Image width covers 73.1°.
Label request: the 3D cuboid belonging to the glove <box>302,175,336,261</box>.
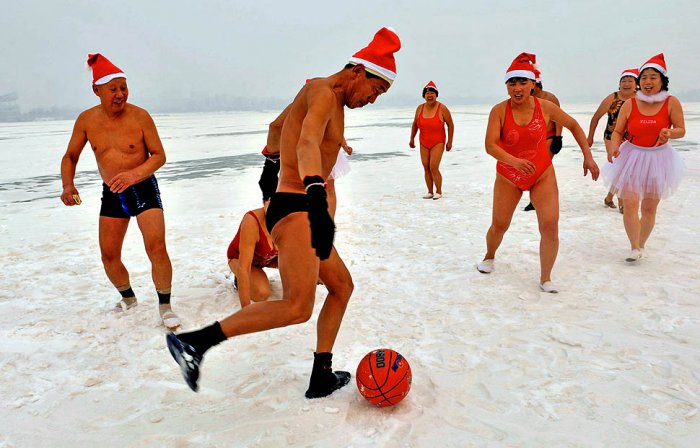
[{"bbox_3d":[-0.272,-0.066,4.048,0.289,0.731,0.228,1,1,23],"label":"glove"}]

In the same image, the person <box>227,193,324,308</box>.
[{"bbox_3d":[-0.789,0.335,4.954,0.811,1.085,0.959,15,39,5],"label":"person"}]

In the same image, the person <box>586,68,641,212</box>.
[{"bbox_3d":[5.464,-1.753,9.420,1.355,2.690,0.972,1,10,28],"label":"person"}]

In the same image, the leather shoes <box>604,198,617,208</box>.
[{"bbox_3d":[5.434,-0.419,9.758,0.106,0.105,0.299,-8,13,2],"label":"leather shoes"}]

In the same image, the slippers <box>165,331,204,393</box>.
[{"bbox_3d":[-1.483,1.289,4.279,0.197,0.677,0.327,-18,23,-37],"label":"slippers"}]
